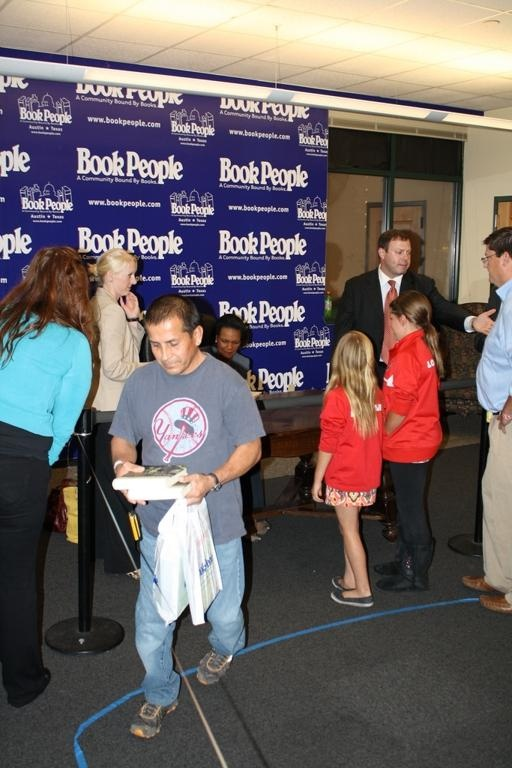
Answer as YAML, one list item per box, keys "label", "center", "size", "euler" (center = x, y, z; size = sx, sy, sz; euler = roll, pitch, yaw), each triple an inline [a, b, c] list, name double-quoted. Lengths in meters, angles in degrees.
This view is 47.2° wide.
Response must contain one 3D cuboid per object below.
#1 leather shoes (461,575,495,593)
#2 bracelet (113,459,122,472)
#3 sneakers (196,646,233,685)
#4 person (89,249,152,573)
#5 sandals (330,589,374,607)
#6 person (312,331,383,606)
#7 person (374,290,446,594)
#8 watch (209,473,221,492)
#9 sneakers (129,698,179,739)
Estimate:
- label: "leather shoes"
  center: [1.139, 1.032, 3.050]
  size: [0.170, 0.069, 0.063]
  euler: [11, 10, 44]
- label: "bracelet"
  center: [-0.382, 0.231, 1.624]
  size: [0.027, 0.023, 0.031]
  euler: [1, -2, -3]
- label: "sneakers"
  center: [-0.127, 0.991, 2.065]
  size: [0.088, 0.080, 0.188]
  euler: [3, -2, 22]
- label: "person"
  center: [-0.720, 0.162, 3.056]
  size: [0.266, 1.769, 0.803]
  euler: [0, 3, -11]
- label: "sandals"
  center: [0.457, 1.017, 2.782]
  size: [0.182, 0.055, 0.077]
  euler: [9, 2, 21]
- label: "person"
  center: [0.426, 0.414, 2.693]
  size: [0.293, 1.298, 0.386]
  euler: [1, 3, 13]
- label: "person"
  center: [0.741, 0.312, 2.836]
  size: [0.284, 1.499, 0.384]
  euler: [1, 3, 15]
- label: "watch"
  center: [-0.110, 0.268, 1.586]
  size: [0.029, 0.058, 0.090]
  euler: [0, 3, 0]
- label: "sneakers"
  center: [-0.322, 1.032, 1.827]
  size: [0.070, 0.074, 0.169]
  euler: [-2, -10, 14]
